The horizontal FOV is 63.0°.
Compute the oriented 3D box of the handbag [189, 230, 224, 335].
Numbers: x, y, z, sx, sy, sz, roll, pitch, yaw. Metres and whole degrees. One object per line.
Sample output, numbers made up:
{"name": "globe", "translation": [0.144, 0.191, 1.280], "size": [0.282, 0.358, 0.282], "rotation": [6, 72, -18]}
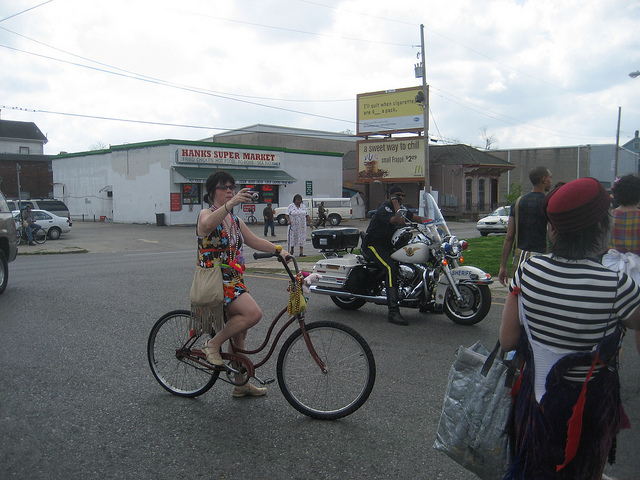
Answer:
{"name": "handbag", "translation": [-0.995, 0.280, 4.557], "size": [0.296, 0.985, 0.158], "rotation": [9, 22, 5]}

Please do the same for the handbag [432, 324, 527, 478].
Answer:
{"name": "handbag", "translation": [0.897, 0.949, 3.270], "size": [0.709, 0.881, 0.558], "rotation": [6, 7, 2]}

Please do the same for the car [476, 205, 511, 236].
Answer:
{"name": "car", "translation": [8.771, -1.103, 26.473], "size": [1.286, 1.449, 7.154], "rotation": [2, 7, 19]}

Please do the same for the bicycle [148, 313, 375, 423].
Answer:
{"name": "bicycle", "translation": [-0.493, 1.218, 5.315], "size": [2.103, 1.333, 0.923], "rotation": [3, 3, 14]}

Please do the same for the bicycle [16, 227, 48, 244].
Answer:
{"name": "bicycle", "translation": [-12.218, -0.189, 22.010], "size": [1.100, 0.786, 0.587], "rotation": [0, 9, 8]}

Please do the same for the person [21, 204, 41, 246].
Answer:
{"name": "person", "translation": [-12.446, -0.622, 22.404], "size": [0.632, 1.642, 0.936], "rotation": [-4, 7, -31]}

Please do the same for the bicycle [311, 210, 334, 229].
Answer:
{"name": "bicycle", "translation": [0.337, -1.535, 38.865], "size": [2.084, 1.508, 1.178], "rotation": [1, 12, 11]}

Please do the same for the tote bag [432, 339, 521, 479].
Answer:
{"name": "tote bag", "translation": [0.896, 0.973, 2.984], "size": [0.446, 0.769, 0.201], "rotation": [2, 6, 25]}

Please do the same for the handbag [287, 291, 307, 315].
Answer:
{"name": "handbag", "translation": [-0.194, 0.562, 4.629], "size": [0.129, 0.206, 0.196], "rotation": [0, -9, 4]}

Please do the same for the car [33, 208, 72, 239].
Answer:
{"name": "car", "translation": [-13.161, -0.712, 25.650], "size": [1.952, 0.919, 0.913], "rotation": [24, -5, -32]}

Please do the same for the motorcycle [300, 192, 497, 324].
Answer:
{"name": "motorcycle", "translation": [1.212, 0.264, 8.084], "size": [2.845, 1.958, 1.235], "rotation": [2, 2, 30]}

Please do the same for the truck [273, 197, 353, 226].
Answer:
{"name": "truck", "translation": [-0.219, -2.272, 39.023], "size": [4.626, 2.078, 2.798], "rotation": [0, 3, -3]}
